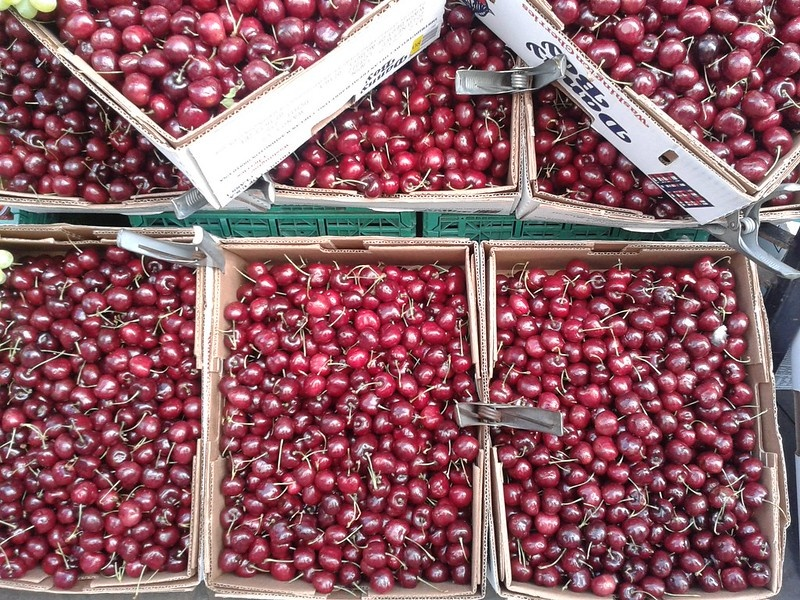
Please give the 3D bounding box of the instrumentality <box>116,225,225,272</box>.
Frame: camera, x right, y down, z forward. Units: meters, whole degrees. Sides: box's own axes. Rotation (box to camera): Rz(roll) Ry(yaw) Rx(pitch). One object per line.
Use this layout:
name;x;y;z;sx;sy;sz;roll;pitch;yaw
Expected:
instrumentality;-1.224;-0.261;3.450;0.429;0.221;0.117;9;69;-43

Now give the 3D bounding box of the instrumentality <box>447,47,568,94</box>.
instrumentality;0.551;-1.110;3.252;0.657;0.181;0.264;-1;9;-3
